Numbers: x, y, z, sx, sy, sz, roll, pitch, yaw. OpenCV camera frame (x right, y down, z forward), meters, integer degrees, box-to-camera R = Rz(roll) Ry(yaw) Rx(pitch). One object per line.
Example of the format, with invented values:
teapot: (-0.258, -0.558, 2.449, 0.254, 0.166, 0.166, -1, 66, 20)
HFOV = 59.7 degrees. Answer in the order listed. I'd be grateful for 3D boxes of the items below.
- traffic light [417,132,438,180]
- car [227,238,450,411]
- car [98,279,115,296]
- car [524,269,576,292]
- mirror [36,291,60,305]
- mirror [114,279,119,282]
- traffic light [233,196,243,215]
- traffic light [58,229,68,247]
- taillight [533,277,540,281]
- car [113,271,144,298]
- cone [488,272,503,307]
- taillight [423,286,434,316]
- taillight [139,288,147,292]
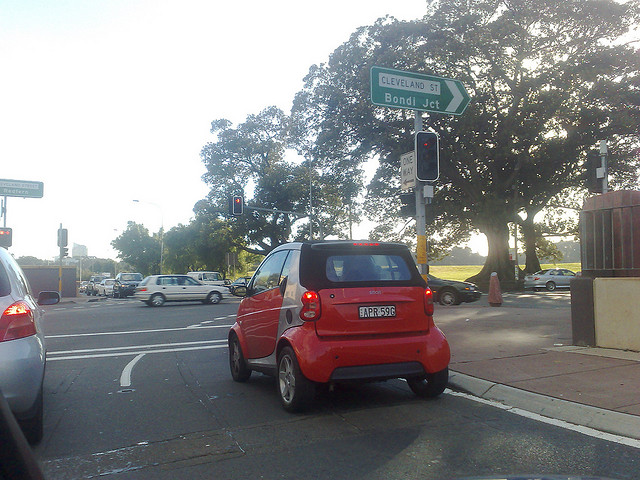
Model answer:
traffic light: (2.033, -1.604, 10.726, 0.508, 0.799, 0.205, -4, 1, -31)
car: (0.201, 1.061, 7.052, 2.717, 1.914, 1.563, -4, 0, 13)
car: (-19.076, 4.329, 50.530, 1.737, 1.503, 2.894, 3, -9, -28)
car: (14.955, 2.657, 36.602, 2.770, 1.151, 1.421, -4, 0, -8)
mirror: (-3.850, 0.843, 7.973, 0.259, 0.206, 0.759, -4, 0, -25)
mirror: (-15.542, 3.165, 42.867, 0.198, 0.205, 2.041, -4, -1, -24)
traffic light: (-4.638, -1.922, 31.231, 0.464, 0.994, 0.598, -4, 0, -7)
traffic light: (-16.194, -0.095, 35.188, 0.384, 1.192, 0.453, -3, 1, 42)
taillight: (13.956, 2.542, 36.271, 0.385, 0.154, 0.086, -4, 0, 21)
car: (-14.547, 3.418, 42.207, 1.472, 1.368, 2.530, 2, -10, -27)
cone: (6.927, 2.020, 22.336, 0.766, 1.269, 0.781, 13, -19, -40)
taillight: (1.356, 0.787, 7.026, 0.096, 0.312, 0.348, -3, 0, 16)
taillight: (-8.509, 2.424, 26.896, 0.326, 0.190, 0.078, -4, 1, -9)
